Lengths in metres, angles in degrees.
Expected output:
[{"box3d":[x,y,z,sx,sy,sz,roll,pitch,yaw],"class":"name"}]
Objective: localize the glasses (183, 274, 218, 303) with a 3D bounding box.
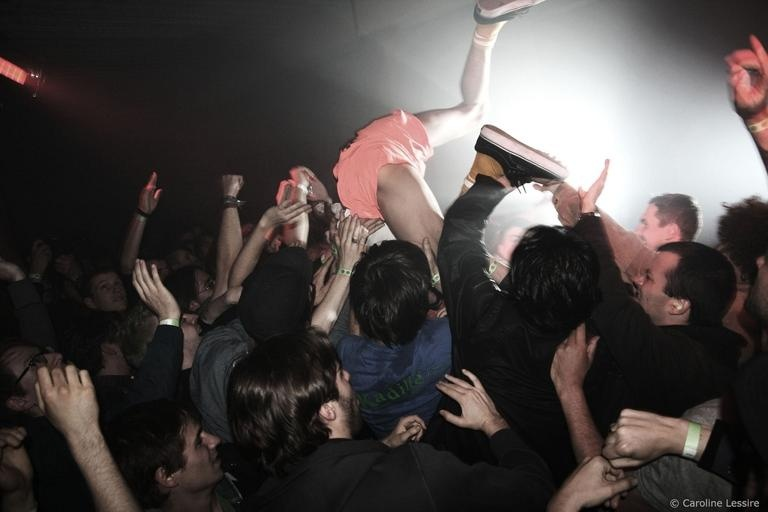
[{"box3d":[-1.142,0.189,3.529,0.199,0.175,0.157,-8,14,-14],"class":"glasses"}]
